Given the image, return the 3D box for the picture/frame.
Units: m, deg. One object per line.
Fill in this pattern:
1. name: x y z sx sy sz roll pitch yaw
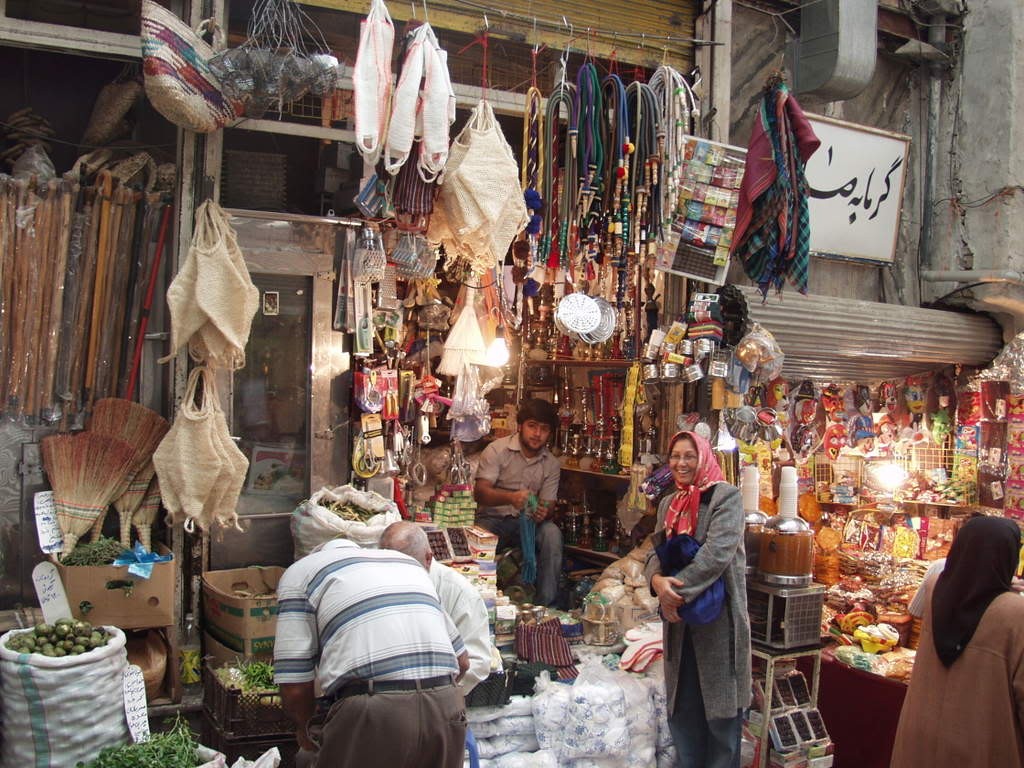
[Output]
1. picture/frame: 2.472 -1.354 7.708 0.822 1.065 0.437 -3 9 -40

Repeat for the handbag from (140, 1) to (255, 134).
1. handbag: -1.691 -1.658 5.740 0.572 0.687 0.229 5 -1 -33

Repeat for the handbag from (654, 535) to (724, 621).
1. handbag: 0.983 1.059 6.001 0.410 0.410 0.251 4 -1 24

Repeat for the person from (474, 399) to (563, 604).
1. person: 0.150 0.861 8.208 0.604 1.478 0.568 0 8 -30

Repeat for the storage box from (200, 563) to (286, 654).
1. storage box: -1.515 1.257 6.106 0.431 0.296 0.425 3 3 -39

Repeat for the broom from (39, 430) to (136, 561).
1. broom: -2.296 0.577 5.809 0.466 0.715 0.173 4 -1 -24
